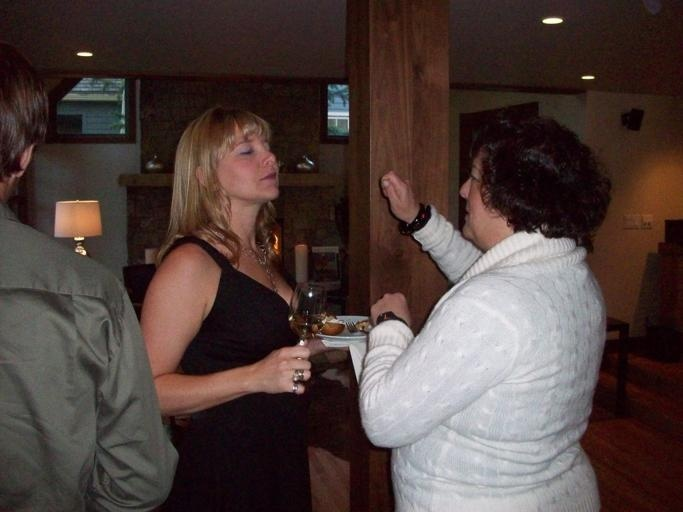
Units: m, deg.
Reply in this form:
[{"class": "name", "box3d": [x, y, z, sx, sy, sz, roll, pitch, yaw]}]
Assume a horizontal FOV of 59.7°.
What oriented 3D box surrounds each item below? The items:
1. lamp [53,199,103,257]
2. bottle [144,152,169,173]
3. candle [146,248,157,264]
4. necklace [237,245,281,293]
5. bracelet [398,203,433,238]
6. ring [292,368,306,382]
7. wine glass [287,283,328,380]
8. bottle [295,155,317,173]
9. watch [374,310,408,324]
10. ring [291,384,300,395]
[{"class": "lamp", "box3d": [-2.492, -0.262, 5.634, 0.401, 0.604, 0.414, 6, 21, -5]}, {"class": "bottle", "box3d": [-1.956, -0.962, 6.237, 0.203, 0.187, 0.205, -2, -1, -6]}, {"class": "candle", "box3d": [-1.710, 0.002, 5.329, 0.131, 0.140, 0.072, 4, 7, 21]}, {"class": "necklace", "box3d": [-0.267, 0.037, 2.064, 0.068, 0.011, 0.200, 1, 36, -23]}, {"class": "bracelet", "box3d": [0.266, -0.119, 2.087, 0.044, 0.114, 0.098, 29, -16, -31]}, {"class": "ring", "box3d": [-0.120, 0.342, 1.691, 0.032, 0.041, 0.020, 0, 6, -5]}, {"class": "wine glass", "box3d": [-0.102, 0.180, 1.845, 0.107, 0.190, 0.147, 1, 6, 1]}, {"class": "bottle", "box3d": [-0.373, -1.002, 6.501, 0.188, 0.191, 0.197, -2, -5, -11]}, {"class": "watch", "box3d": [0.140, 0.179, 1.699, 0.068, 0.029, 0.039, 6, -6, -11]}, {"class": "ring", "box3d": [-0.128, 0.376, 1.683, 0.026, 0.027, 0.025, 3, 9, 0]}]
